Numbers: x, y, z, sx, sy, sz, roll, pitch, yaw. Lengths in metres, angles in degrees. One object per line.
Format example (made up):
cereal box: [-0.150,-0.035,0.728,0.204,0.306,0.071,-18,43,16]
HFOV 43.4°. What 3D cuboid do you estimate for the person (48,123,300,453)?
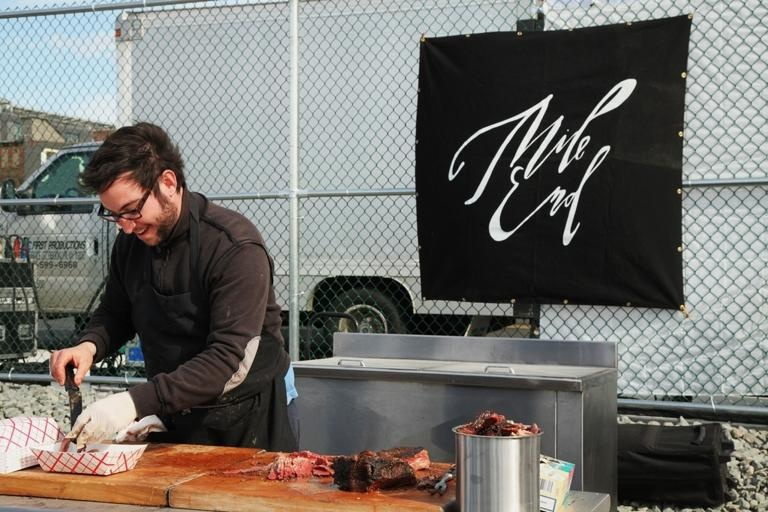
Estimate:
person: [-1.275,0.241,6.423,1.471,1.758,0.905,1,0,-13]
